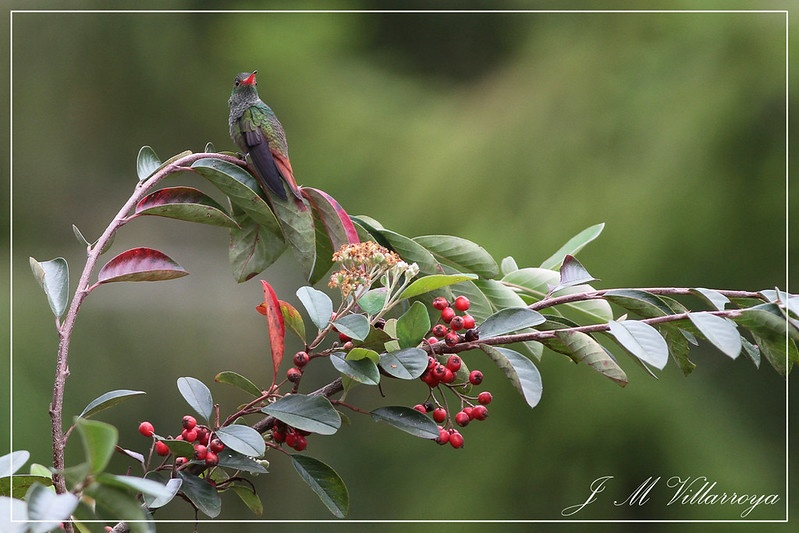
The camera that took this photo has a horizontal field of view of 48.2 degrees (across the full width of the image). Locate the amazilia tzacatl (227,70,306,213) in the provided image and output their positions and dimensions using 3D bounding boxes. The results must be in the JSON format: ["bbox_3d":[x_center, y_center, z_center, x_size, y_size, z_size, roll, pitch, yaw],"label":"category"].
[{"bbox_3d":[-0.630,-0.588,3.995,0.221,1.101,0.364,16,-47,-29],"label":"amazilia tzacatl"}]
